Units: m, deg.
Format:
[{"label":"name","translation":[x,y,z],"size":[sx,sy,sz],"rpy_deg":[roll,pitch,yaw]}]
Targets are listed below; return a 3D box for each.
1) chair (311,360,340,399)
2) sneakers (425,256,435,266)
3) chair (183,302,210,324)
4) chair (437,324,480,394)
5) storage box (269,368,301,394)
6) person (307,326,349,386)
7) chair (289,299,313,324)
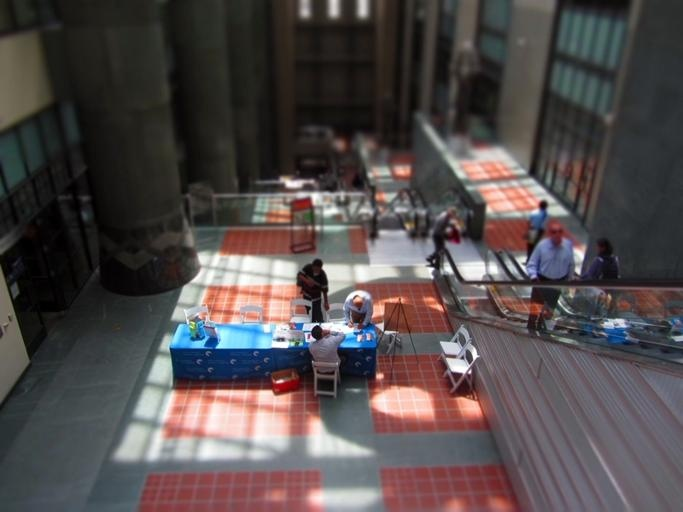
[{"label":"chair","translation":[-0.274,2.109,7.115],"size":[0.478,0.892,0.645],"rpy_deg":[1,50,2]},{"label":"sneakers","translation":[2.231,0.144,10.393],"size":[0.118,0.273,0.429],"rpy_deg":[-4,18,-11]},{"label":"chair","translation":[-2.908,1.161,8.193],"size":[0.239,0.437,0.299],"rpy_deg":[-6,66,-17]},{"label":"chair","translation":[2.141,1.917,7.488],"size":[0.409,0.751,1.032],"rpy_deg":[0,33,1]},{"label":"storage box","translation":[-1.015,2.189,7.253],"size":[0.369,0.171,0.392],"rpy_deg":[-2,38,-4]},{"label":"person","translation":[-0.221,1.638,7.190],"size":[0.548,1.386,0.736],"rpy_deg":[1,32,11]},{"label":"chair","translation":[-0.820,1.132,8.127],"size":[0.337,0.628,0.454],"rpy_deg":[-1,53,-2]}]
